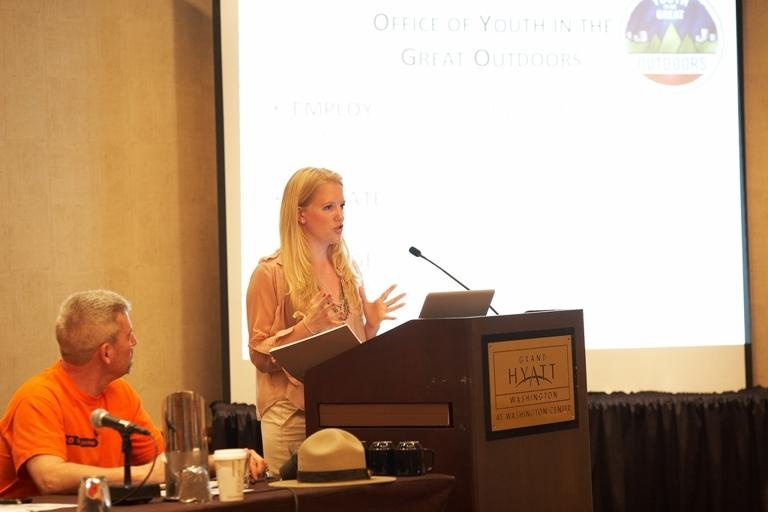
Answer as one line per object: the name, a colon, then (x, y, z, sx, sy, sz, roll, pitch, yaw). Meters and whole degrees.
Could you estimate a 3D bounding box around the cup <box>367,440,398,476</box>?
cup: (-0.024, 0.925, 4.401, 0.129, 0.136, 0.132, -1, -1, 0)

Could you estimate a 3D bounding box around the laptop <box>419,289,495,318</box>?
laptop: (0.373, 0.233, 4.618, 0.425, 0.143, 0.182, 0, -9, -27)

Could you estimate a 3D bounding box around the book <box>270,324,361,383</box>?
book: (-0.337, 0.471, 4.609, 0.407, 0.246, 0.200, -8, -8, 24)

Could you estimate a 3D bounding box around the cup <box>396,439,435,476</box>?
cup: (0.140, 0.935, 4.418, 0.104, 0.155, 0.200, -9, -9, 37)

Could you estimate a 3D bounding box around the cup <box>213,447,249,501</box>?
cup: (-0.683, 0.966, 4.226, 0.138, 0.214, 0.218, -2, -7, -10)
